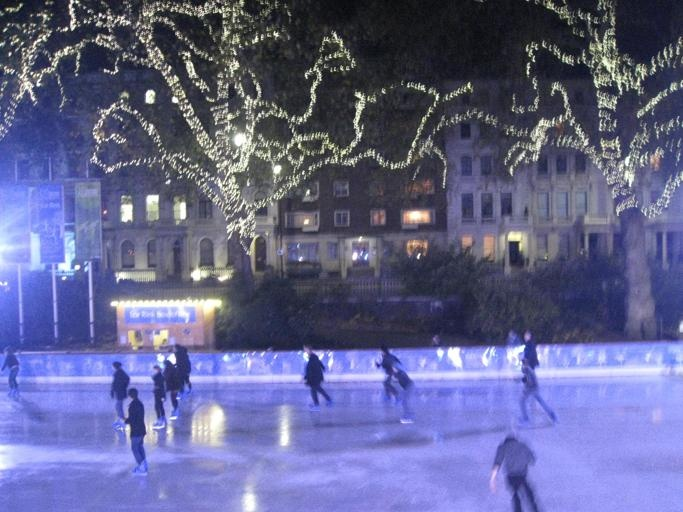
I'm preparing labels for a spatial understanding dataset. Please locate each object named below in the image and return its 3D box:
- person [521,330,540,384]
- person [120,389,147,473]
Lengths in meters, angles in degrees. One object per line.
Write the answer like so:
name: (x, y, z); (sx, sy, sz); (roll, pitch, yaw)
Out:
person: (8.686, 4.739, 56.900); (0.835, 2.990, 1.366); (-1, -27, 11)
person: (-8.669, 7.396, 52.599); (0.839, 3.630, 1.400); (-1, -1, -10)
